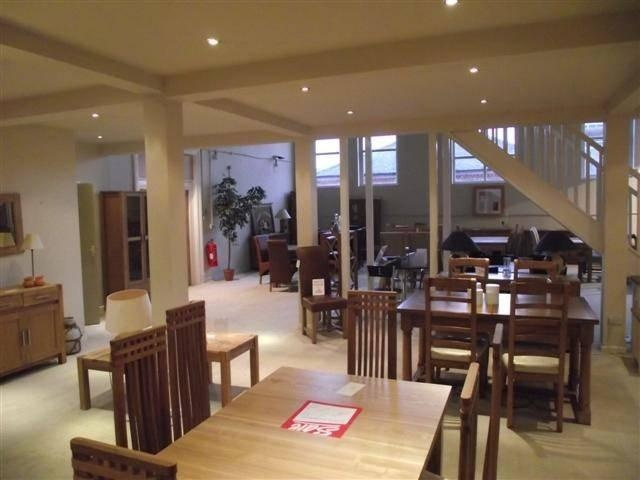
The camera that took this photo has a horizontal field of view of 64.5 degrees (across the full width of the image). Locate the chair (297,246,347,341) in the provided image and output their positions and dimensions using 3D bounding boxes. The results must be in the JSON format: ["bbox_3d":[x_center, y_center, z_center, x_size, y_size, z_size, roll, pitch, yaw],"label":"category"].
[{"bbox_3d":[0.013,0.662,6.355,0.492,1.098,0.767,-4,12,-13],"label":"chair"}]

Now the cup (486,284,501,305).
[{"bbox_3d":[1.525,0.483,4.512,0.142,0.246,0.162,2,5,15],"label":"cup"}]

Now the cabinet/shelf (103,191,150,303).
[{"bbox_3d":[-2.871,0.062,7.442,0.768,1.560,0.504,-8,13,-30],"label":"cabinet/shelf"}]

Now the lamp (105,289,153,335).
[{"bbox_3d":[-1.493,0.531,4.004,0.360,0.385,0.363,-3,0,-24],"label":"lamp"}]

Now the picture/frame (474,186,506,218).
[{"bbox_3d":[3.827,-0.850,11.295,0.634,0.688,0.067,2,4,27],"label":"picture/frame"}]

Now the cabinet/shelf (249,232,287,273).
[{"bbox_3d":[-1.057,0.265,10.061,0.269,0.712,0.799,0,6,9],"label":"cabinet/shelf"}]

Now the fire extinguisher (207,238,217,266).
[{"bbox_3d":[-2.198,0.295,10.322,0.153,0.582,0.399,-1,11,2],"label":"fire extinguisher"}]

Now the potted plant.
[{"bbox_3d":[-1.764,-0.384,10.715,0.586,2.034,1.150,4,12,24],"label":"potted plant"}]
